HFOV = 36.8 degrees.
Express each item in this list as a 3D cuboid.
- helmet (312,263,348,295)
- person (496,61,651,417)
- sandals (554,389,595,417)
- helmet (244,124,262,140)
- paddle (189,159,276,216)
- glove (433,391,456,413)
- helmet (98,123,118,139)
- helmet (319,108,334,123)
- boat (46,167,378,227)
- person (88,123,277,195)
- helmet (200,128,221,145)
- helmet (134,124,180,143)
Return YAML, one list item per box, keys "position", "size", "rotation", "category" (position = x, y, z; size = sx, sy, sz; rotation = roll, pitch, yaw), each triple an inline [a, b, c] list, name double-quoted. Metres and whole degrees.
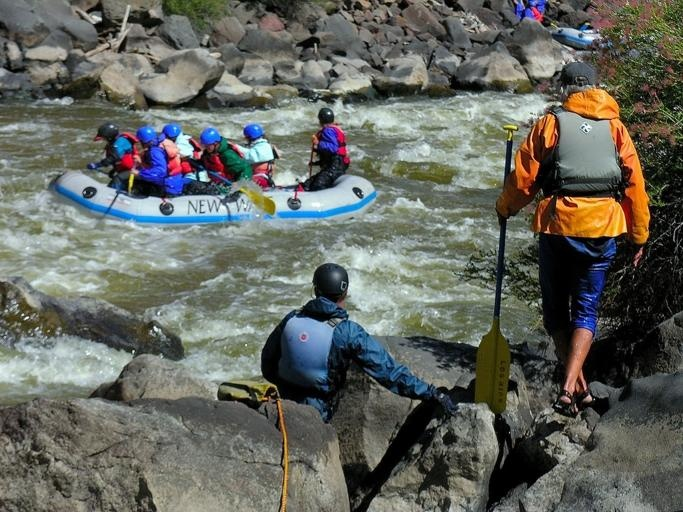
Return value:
- position: [-0.088, 0.222, 9.365]
  size: [0.283, 0.283, 0.311]
  rotation: [4, 13, -1]
  category: "helmet"
- position: [2.020, -0.225, 8.957]
  size: [1.046, 2.883, 0.928]
  rotation: [14, 18, 36]
  category: "person"
- position: [1.973, 1.246, 8.735]
  size: [0.156, 0.157, 0.434]
  rotation: [-12, 0, 37]
  category: "sandals"
- position: [-1.429, -2.032, 16.894]
  size: [0.271, 0.244, 0.339]
  rotation: [-13, 21, -39]
  category: "helmet"
- position: [-1.632, -1.129, 16.219]
  size: [1.854, 0.587, 0.299]
  rotation: [28, 59, 35]
  category: "paddle"
- position: [0.888, 1.254, 8.794]
  size: [0.119, 0.056, 0.202]
  rotation: [-40, 39, -2]
  category: "glove"
- position: [-3.584, -1.915, 15.783]
  size: [0.299, 0.251, 0.476]
  rotation: [0, 13, -13]
  category: "helmet"
- position: [-0.218, -2.348, 16.774]
  size: [0.222, 0.265, 0.258]
  rotation: [-5, 52, -15]
  category: "helmet"
- position: [-2.027, -0.802, 16.032]
  size: [3.376, 0.503, 1.733]
  rotation: [0, 6, -22]
  category: "boat"
- position: [-2.746, -1.466, 16.157]
  size: [2.139, 0.774, 1.221]
  rotation: [8, 20, -12]
  category: "person"
- position: [-2.037, -1.879, 15.904]
  size: [0.335, 0.251, 0.256]
  rotation: [-14, 4, -43]
  category: "helmet"
- position: [-2.806, -1.903, 15.778]
  size: [0.596, 0.207, 0.376]
  rotation: [-8, 4, -4]
  category: "helmet"
